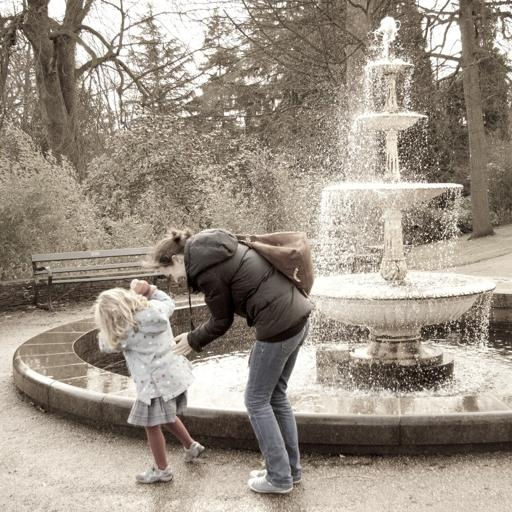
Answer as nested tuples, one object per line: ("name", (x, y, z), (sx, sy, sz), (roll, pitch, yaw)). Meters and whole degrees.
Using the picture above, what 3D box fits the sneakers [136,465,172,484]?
("sneakers", (-0.617, 1.332, 4.033), (0.217, 0.131, 0.097), (3, -3, 0))

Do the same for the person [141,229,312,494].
("person", (-0.119, 0.584, 3.808), (0.844, 1.604, 0.492), (-3, 8, 6))

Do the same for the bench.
("bench", (-2.561, 0.351, 10.762), (2.122, 0.938, 0.561), (-4, 10, -26))

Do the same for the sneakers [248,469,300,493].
("sneakers", (0.095, 1.268, 3.821), (0.239, 0.123, 0.141), (10, 2, 19))

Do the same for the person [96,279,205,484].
("person", (-0.659, 0.770, 4.140), (0.463, 1.333, 0.448), (-11, 13, -18))

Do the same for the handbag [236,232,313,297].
("handbag", (0.121, 0.108, 3.745), (0.335, 0.190, 0.392), (16, 13, -15))
